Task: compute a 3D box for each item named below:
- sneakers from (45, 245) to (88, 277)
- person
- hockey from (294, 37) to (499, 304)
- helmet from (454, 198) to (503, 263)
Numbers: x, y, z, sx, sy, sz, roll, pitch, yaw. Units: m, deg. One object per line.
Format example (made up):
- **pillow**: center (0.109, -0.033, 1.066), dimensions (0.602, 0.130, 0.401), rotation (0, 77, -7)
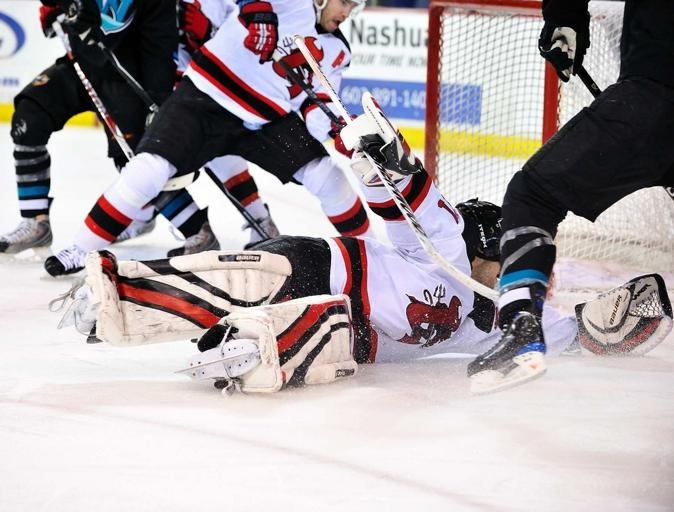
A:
- **sneakers**: center (-1.051, 0.023, 2.950), dimensions (0.085, 0.072, 0.215), rotation (-23, 0, 24)
- **person**: center (0.081, -0.130, 2.182), dimensions (1.417, 0.599, 0.899), rotation (-3, 7, -9)
- **hockey**: center (0.104, -0.304, 2.253), dimensions (0.150, 0.338, 0.986), rotation (-34, 59, 7)
- **helmet**: center (0.404, -0.081, 2.302), dimensions (0.181, 0.165, 0.140), rotation (-4, 4, -8)
